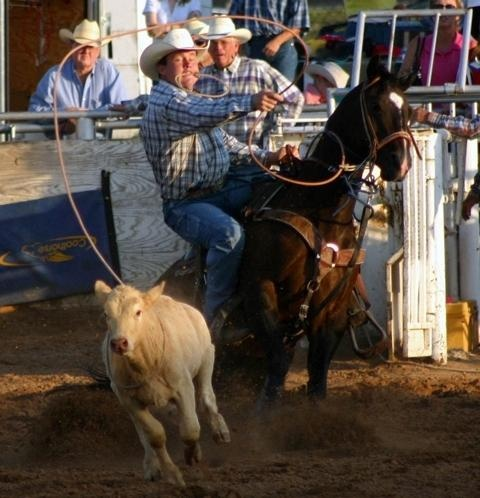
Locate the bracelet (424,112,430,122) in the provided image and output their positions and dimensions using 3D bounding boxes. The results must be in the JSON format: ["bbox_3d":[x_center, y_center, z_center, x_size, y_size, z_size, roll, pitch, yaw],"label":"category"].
[{"bbox_3d":[1.789,-1.280,12.038,0.034,0.095,0.070,5,16,8],"label":"bracelet"}]

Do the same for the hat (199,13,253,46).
[{"bbox_3d":[-0.115,-2.183,12.496,0.383,0.171,0.434,-14,-21,27],"label":"hat"}]

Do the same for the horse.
[{"bbox_3d":[0.332,-0.020,11.526,0.957,2.502,3.609,9,-13,-31],"label":"horse"}]

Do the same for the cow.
[{"bbox_3d":[-0.602,1.087,9.931,0.951,1.867,1.266,7,16,15],"label":"cow"}]

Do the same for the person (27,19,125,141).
[{"bbox_3d":[-1.813,-1.829,14.386,1.086,1.559,0.839,-4,15,-21],"label":"person"}]
